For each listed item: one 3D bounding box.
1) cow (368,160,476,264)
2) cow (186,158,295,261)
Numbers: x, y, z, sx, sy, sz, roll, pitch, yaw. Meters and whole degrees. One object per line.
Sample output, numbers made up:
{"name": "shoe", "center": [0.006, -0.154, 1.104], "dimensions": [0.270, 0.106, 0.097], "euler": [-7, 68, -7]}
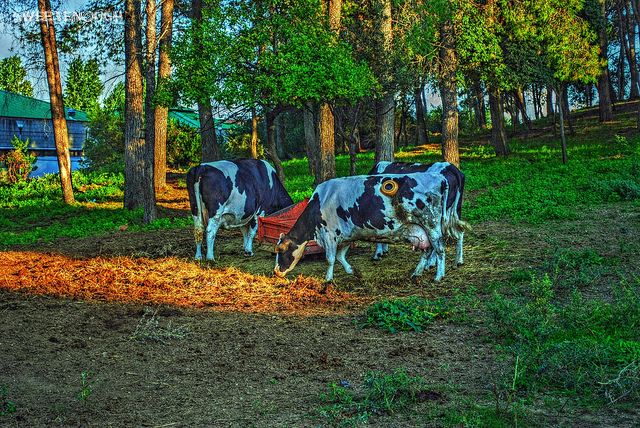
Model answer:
{"name": "cow", "center": [3.095, -0.032, 25.158], "dimensions": [1.575, 3.552, 5.879], "euler": [-9, 9, -21]}
{"name": "cow", "center": [-2.558, -0.212, 26.050], "dimensions": [1.704, 3.330, 4.552], "euler": [9, 10, 42]}
